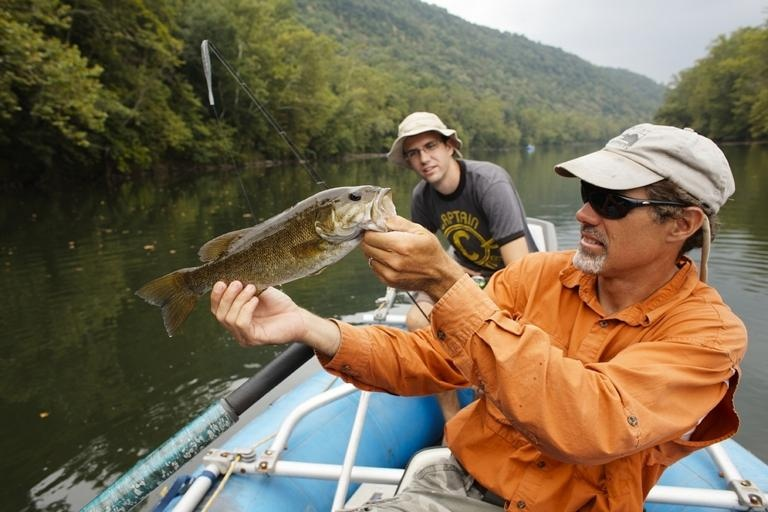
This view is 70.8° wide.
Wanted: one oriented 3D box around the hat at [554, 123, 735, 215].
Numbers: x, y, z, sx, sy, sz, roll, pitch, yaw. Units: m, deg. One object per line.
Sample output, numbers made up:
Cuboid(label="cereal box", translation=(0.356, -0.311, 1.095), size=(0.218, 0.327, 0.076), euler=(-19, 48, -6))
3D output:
Cuboid(label="hat", translation=(1.470, -0.481, 3.011), size=(0.828, 0.475, 0.261), euler=(-4, 18, 6))

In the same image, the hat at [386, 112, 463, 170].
Cuboid(label="hat", translation=(0.432, -1.195, 5.310), size=(0.575, 0.316, 0.573), euler=(-19, -5, 31))

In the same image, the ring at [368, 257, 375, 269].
Cuboid(label="ring", translation=(-0.064, 0.039, 2.986), size=(0.024, 0.064, 0.044), euler=(3, 5, -12))
